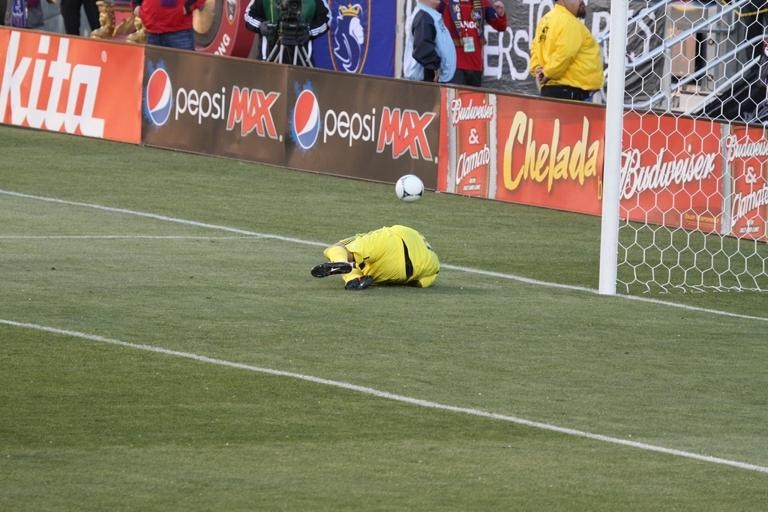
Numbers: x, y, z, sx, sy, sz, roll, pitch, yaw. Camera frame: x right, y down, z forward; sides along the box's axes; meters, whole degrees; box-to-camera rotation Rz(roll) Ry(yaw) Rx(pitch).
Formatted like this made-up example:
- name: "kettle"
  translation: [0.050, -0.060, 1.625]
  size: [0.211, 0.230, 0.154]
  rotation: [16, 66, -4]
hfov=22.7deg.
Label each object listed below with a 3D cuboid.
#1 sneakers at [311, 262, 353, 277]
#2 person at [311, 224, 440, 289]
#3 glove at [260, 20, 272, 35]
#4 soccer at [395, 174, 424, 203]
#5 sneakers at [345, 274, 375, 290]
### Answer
- name: "sneakers"
  translation: [-0.539, 0.139, 19.213]
  size: [0.479, 0.136, 0.192]
  rotation: [-1, -7, -13]
- name: "person"
  translation: [-0.053, 0.059, 19.502]
  size: [1.380, 0.500, 0.399]
  rotation: [-12, 11, -38]
- name: "glove"
  translation: [-1.721, -3.296, 27.684]
  size: [0.131, 0.187, 0.258]
  rotation: [8, 2, -18]
- name: "soccer"
  translation: [0.267, -0.762, 22.056]
  size: [0.360, 0.297, 0.314]
  rotation: [-9, 13, -12]
- name: "sneakers"
  translation: [-0.260, 0.278, 19.514]
  size: [0.251, 0.087, 0.135]
  rotation: [-3, -1, 1]
